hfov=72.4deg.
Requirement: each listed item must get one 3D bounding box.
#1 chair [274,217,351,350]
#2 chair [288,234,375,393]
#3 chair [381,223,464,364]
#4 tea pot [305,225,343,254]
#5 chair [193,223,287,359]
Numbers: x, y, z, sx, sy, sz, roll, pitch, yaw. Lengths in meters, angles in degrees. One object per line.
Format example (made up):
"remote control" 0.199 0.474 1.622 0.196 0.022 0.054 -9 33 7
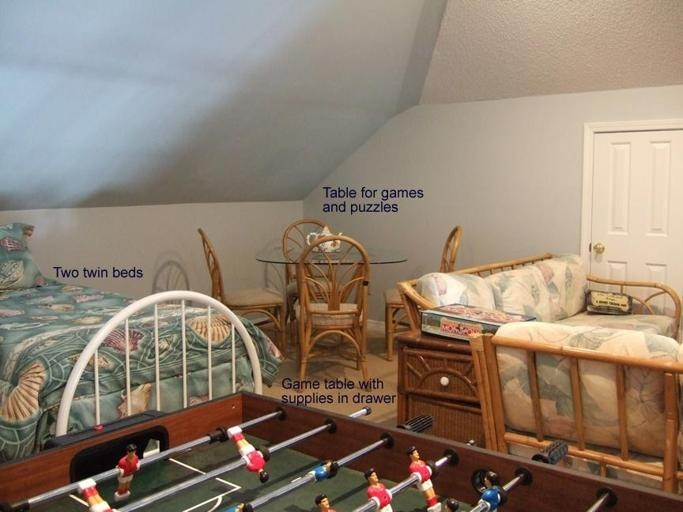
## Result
"chair" -0.321 0.311 4.911 0.666 1.286 0.691 2 -23 9
"chair" -0.108 0.371 4.100 0.651 1.162 1.678 0 5 3
"chair" 0.731 0.310 4.384 0.700 1.157 0.618 0 6 3
"tea pot" -0.159 -0.143 4.219 0.384 0.263 0.279 -4 6 -7
"chair" -0.956 0.333 4.368 0.791 1.149 0.628 1 7 -18
